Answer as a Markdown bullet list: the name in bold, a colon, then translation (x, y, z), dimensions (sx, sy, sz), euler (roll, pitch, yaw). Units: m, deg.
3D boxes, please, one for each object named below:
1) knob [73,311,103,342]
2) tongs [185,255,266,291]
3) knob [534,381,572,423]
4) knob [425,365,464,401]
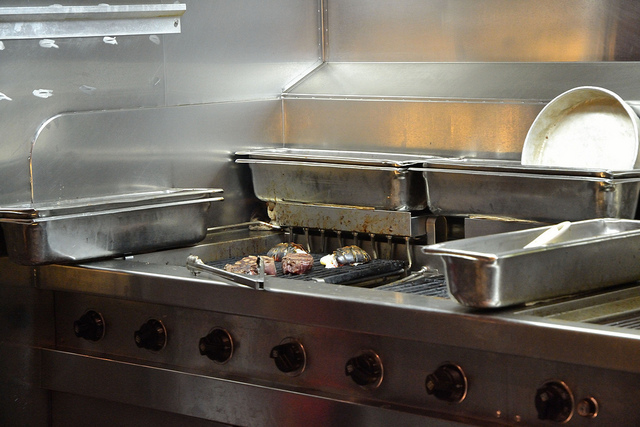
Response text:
- **knob**: translation (-0.764, 0.376, 1.823), dimensions (0.096, 0.085, 0.023), euler (2, 7, 5)
- **tongs**: translation (-0.286, 0.162, 1.639), dimensions (0.309, 0.110, 0.040), euler (9, -3, 39)
- **knob**: translation (0.511, 0.412, 1.171), dimensions (0.084, 0.077, 0.027), euler (-2, 0, 32)
- **knob**: translation (0.294, 0.411, 1.332), dimensions (0.095, 0.088, 0.092), euler (8, -6, -6)
